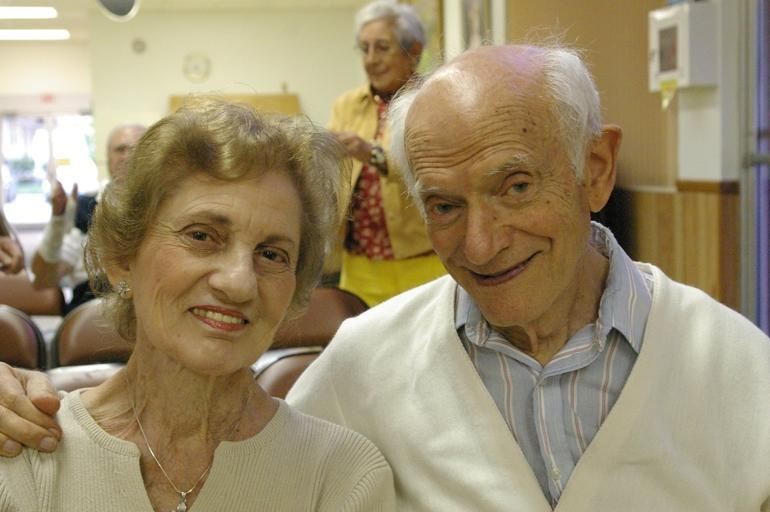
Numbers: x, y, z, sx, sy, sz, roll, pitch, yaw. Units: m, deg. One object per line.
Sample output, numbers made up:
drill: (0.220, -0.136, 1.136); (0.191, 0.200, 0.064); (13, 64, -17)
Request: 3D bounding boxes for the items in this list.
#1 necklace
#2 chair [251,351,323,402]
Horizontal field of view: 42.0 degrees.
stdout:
necklace: (-0.706, 0.720, 3.899); (0.338, 0.606, 0.141); (4, -2, -7)
chair: (-0.448, 0.533, 4.514); (0.273, 0.109, 0.168); (-15, 22, -24)
